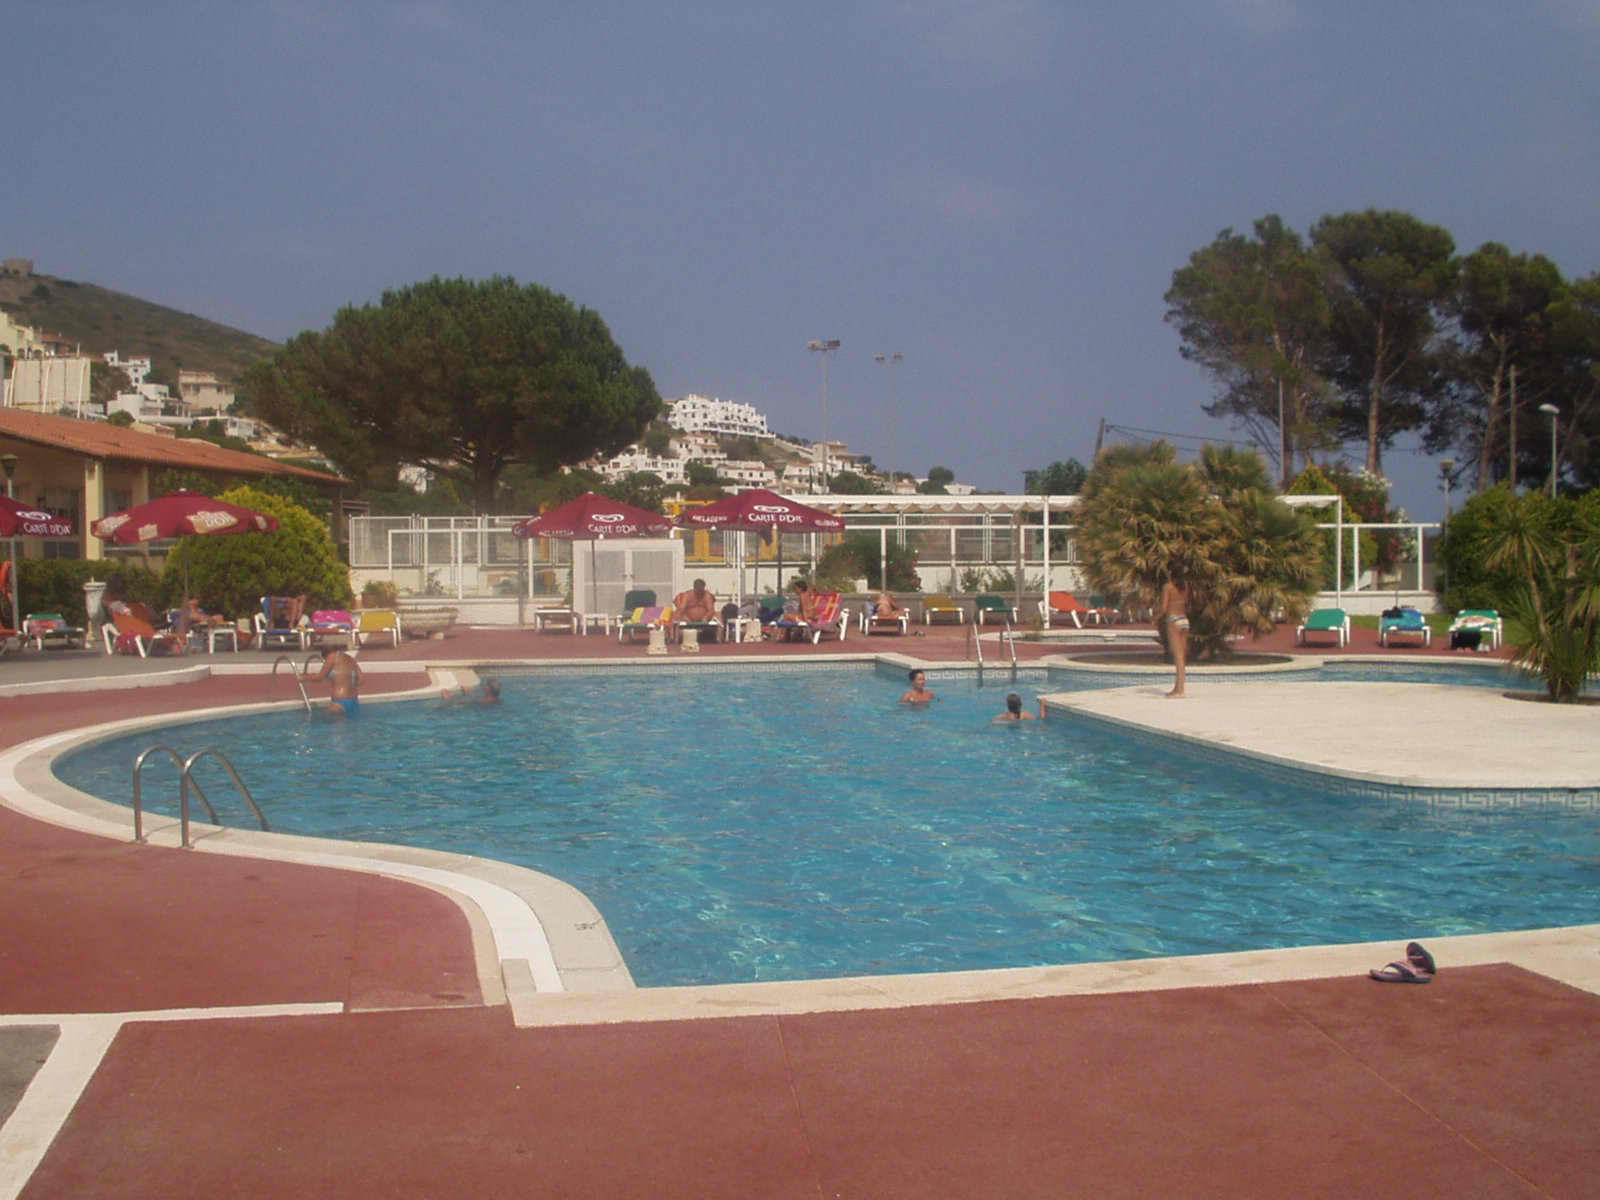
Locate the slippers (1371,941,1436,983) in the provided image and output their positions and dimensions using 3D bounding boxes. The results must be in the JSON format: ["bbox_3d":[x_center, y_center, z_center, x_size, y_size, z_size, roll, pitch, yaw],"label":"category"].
[{"bbox_3d":[3.301,1.969,7.991,0.290,0.149,0.467,5,6,40],"label":"slippers"}]

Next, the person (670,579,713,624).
[{"bbox_3d":[-2.006,0.122,27.070,0.858,0.966,0.536,14,-16,-42],"label":"person"}]

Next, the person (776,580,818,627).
[{"bbox_3d":[0.063,0.018,27.784,0.710,1.169,0.878,1,-3,-4],"label":"person"}]

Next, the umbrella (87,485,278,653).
[{"bbox_3d":[-9.652,-0.534,23.005,2.261,1.844,2.388,-1,0,1],"label":"umbrella"}]
